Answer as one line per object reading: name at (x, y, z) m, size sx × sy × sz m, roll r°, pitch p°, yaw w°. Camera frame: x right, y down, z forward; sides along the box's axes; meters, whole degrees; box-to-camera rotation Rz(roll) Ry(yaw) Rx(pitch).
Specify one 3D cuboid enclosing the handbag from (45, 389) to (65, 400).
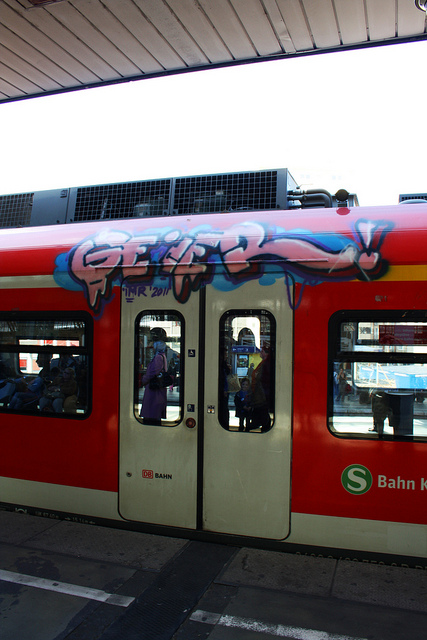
handbag at (-1.496, 0.708, 4.654) m, size 0.139 × 0.053 × 0.101 m, roll 5°, pitch -3°, yaw 19°

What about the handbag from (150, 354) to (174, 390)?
handbag at (-0.425, 0.520, 4.420) m, size 0.194 × 0.305 × 0.118 m, roll -3°, pitch -4°, yaw 15°
